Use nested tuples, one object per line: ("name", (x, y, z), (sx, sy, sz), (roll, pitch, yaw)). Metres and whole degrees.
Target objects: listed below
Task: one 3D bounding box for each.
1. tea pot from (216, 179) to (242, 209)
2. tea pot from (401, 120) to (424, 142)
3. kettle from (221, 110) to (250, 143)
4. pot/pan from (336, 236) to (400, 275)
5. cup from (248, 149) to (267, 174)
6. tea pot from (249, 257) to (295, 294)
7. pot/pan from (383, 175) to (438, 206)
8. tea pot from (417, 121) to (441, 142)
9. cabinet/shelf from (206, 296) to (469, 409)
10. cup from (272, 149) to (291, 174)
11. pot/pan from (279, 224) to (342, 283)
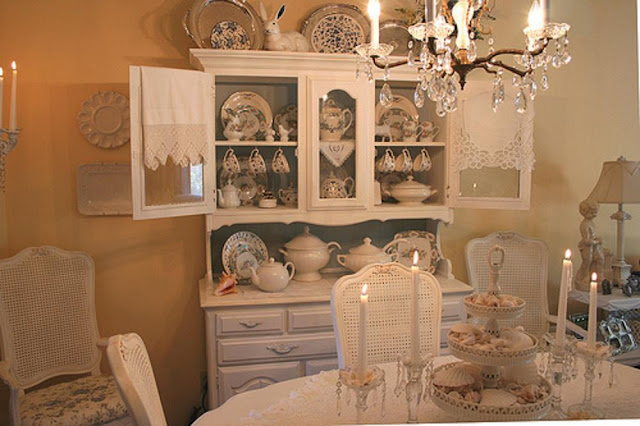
("tea pot", (-0.630, -0.120, 3.617), (0.182, 0.180, 0.128), (1, -1, -40))
("tea pot", (0.664, -0.595, 3.805), (0.184, 0.175, 0.118), (-1, 3, -11))
("kettle", (-0.595, -0.603, 3.626), (0.143, 0.234, 0.110), (-2, 3, -10))
("pot/pan", (0.337, 0.312, 3.777), (0.417, 0.210, 0.244), (0, 2, -2))
("cup", (-0.444, -0.356, 3.691), (0.117, 0.170, 0.050), (-2, -6, -1))
("tea pot", (-0.315, 0.417, 3.583), (0.296, 0.187, 0.200), (1, 0, -33))
("pot/pan", (0.666, -0.145, 3.896), (0.290, 0.154, 0.226), (0, 11, 2))
("tea pot", (0.785, -0.591, 3.825), (0.181, 0.172, 0.114), (-1, 1, -7))
("cabinet/shelf", (0.038, 0.767, 2.899), (0.938, 0.481, 0.240), (-1, 1, -12))
("cup", (-0.279, -0.360, 3.698), (0.068, 0.114, 0.165), (-19, -8, 9))
("pot/pan", (-0.066, 0.311, 3.832), (0.549, 0.452, 0.365), (0, 0, -3))
